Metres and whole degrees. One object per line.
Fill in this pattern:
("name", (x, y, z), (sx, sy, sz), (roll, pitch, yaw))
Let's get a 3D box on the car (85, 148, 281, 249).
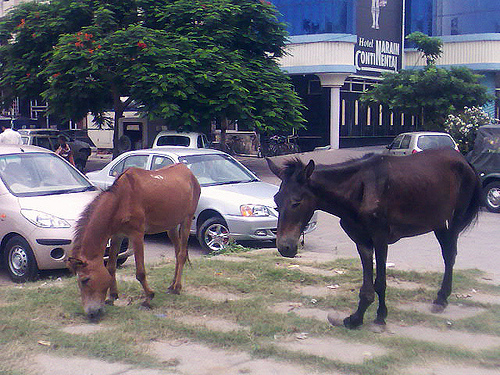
("car", (-0.948, 0.064, 13.836), (2.096, 1.326, 3.572), (-2, 5, -41))
